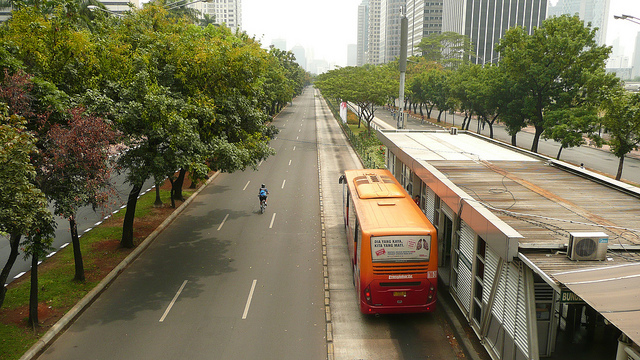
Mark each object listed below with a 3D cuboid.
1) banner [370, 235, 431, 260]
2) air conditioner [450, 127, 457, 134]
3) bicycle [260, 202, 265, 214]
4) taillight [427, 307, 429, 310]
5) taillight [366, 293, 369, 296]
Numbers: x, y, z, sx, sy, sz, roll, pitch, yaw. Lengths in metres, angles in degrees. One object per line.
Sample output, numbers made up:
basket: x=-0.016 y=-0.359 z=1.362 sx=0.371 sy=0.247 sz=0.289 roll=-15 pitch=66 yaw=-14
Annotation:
banner: x=4.407 y=3.655 z=24.299 sx=3.050 sy=1.232 sz=0.322 roll=0 pitch=16 yaw=0
air conditioner: x=12.383 y=-4.583 z=41.527 sx=0.510 sy=0.495 sz=0.490 roll=-2 pitch=9 yaw=-11
bicycle: x=-4.866 y=2.270 z=37.850 sx=0.393 sy=0.819 sz=0.659 roll=-2 pitch=15 yaw=-7
taillight: x=6.000 y=7.150 z=24.948 sx=0.165 sy=0.052 sz=0.162 roll=-1 pitch=15 yaw=9
taillight: x=2.626 y=6.301 z=24.689 sx=0.149 sy=0.076 sz=0.148 roll=7 pitch=14 yaw=23
